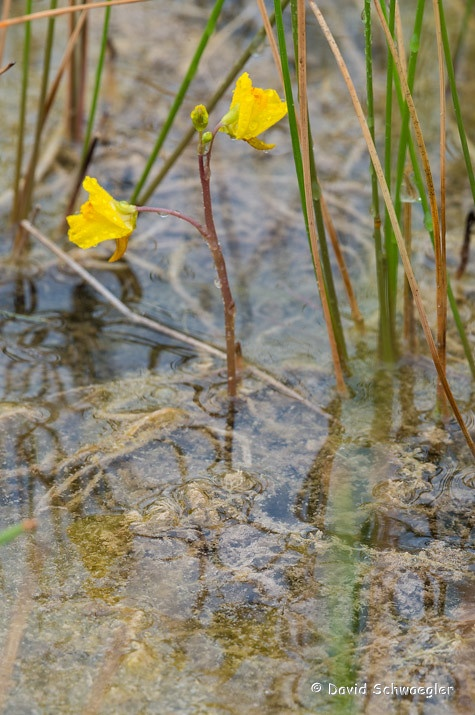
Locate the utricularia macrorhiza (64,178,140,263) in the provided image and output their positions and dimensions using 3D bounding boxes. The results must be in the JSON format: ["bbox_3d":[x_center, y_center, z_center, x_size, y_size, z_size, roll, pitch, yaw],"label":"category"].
[{"bbox_3d":[-0.212,-0.224,1.251,0.161,0.143,0.112,2,-4,-12],"label":"utricularia macrorhiza"}]

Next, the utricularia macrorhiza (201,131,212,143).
[{"bbox_3d":[-0.047,-0.356,1.202,0.017,0.020,0.006,4,8,-20],"label":"utricularia macrorhiza"}]
